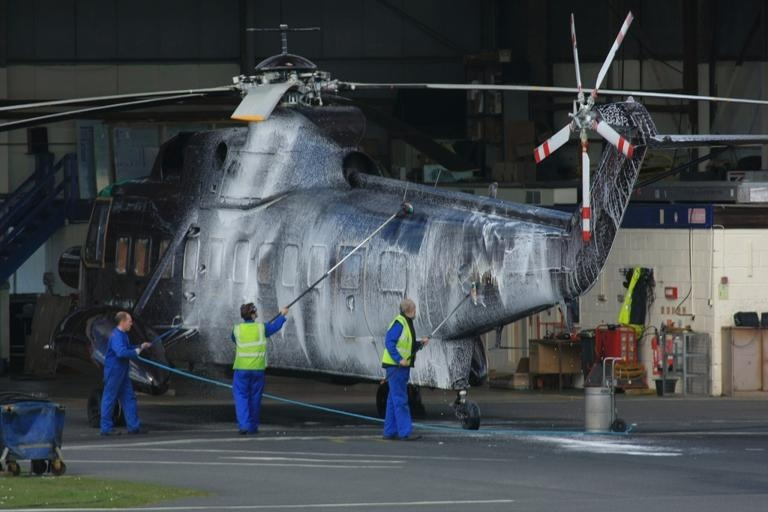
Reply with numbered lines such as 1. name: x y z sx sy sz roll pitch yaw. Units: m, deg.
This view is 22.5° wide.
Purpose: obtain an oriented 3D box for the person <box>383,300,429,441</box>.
1. person: 0.599 2.730 46.348 1.274 3.174 1.057 0 0 -10

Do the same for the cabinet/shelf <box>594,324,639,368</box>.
1. cabinet/shelf: 6.714 2.397 54.686 0.997 1.174 1.306 2 -3 -31

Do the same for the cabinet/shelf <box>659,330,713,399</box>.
1. cabinet/shelf: 8.569 3.022 54.665 0.737 1.930 1.289 2 -6 -1

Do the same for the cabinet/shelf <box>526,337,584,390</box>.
1. cabinet/shelf: 4.908 3.033 55.973 1.489 1.426 1.434 1 0 24

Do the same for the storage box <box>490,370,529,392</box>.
1. storage box: 3.697 3.574 56.561 1.281 0.461 0.411 1 -2 44

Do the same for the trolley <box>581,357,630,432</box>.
1. trolley: 5.500 3.356 47.602 1.266 1.910 0.844 -3 -3 30
